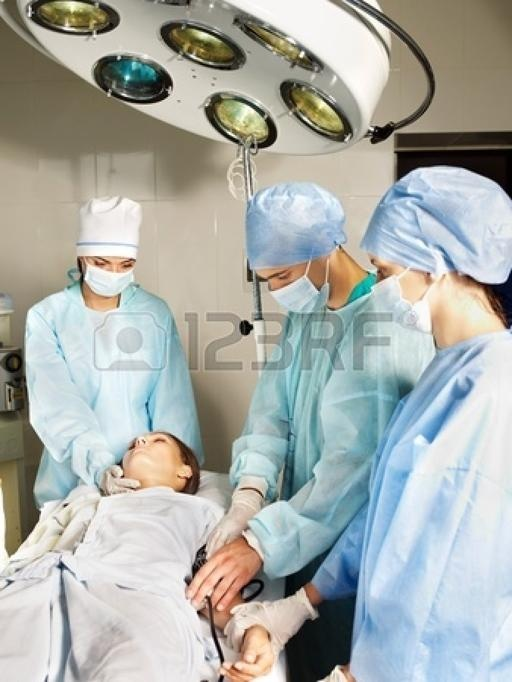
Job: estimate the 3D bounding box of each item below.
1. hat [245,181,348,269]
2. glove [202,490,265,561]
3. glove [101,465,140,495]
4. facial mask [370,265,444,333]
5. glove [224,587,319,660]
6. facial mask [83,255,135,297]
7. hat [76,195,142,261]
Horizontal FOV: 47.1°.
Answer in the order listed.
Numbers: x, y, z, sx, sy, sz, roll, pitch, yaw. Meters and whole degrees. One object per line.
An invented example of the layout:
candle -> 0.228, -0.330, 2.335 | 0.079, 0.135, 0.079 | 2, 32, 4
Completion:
hat -> 0.085, -0.278, 1.415 | 0.253, 0.182, 0.181 | -6, 12, -23
glove -> -0.046, 0.437, 1.497 | 0.075, 0.071, 0.243 | -17, 25, 37
glove -> -0.404, 0.418, 1.733 | 0.081, 0.102, 0.040 | -21, -20, 25
facial mask -> 0.272, -0.072, 1.074 | 0.107, 0.048, 0.109 | -33, 25, 3
glove -> 0.036, 0.586, 1.276 | 0.195, 0.115, 0.082 | -28, -7, -4
facial mask -> -0.508, -0.226, 2.030 | 0.138, 0.084, 0.147 | -4, 21, -27
hat -> -0.492, -0.377, 2.058 | 0.221, 0.217, 0.222 | 2, 0, 19
